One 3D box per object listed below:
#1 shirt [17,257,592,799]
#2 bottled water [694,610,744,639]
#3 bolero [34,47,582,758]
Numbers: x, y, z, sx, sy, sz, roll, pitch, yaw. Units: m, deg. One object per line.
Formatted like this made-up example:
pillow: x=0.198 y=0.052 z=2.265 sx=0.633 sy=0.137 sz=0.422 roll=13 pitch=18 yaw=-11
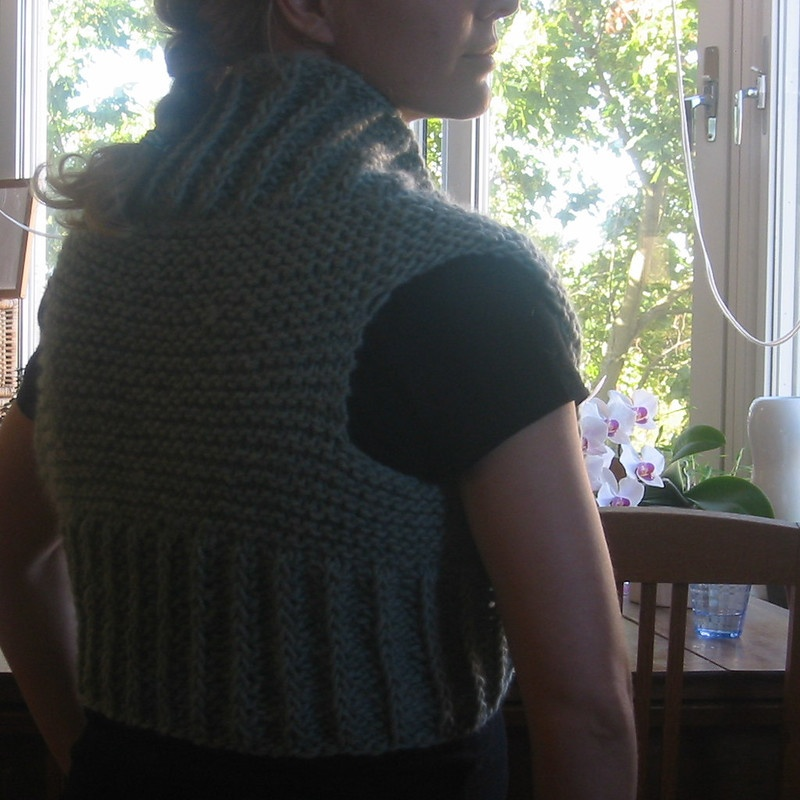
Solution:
shirt: x=-0.049 y=0.075 z=0.565 sx=0.335 sy=0.314 sz=0.187 roll=3 pitch=-3 yaw=-1
bottled water: x=0.381 y=0.274 z=1.156 sx=0.044 sy=0.030 sz=0.036 roll=-1 pitch=-14 yaw=20
bolero: x=-0.064 y=-0.007 z=0.654 sx=0.338 sy=0.411 sz=0.242 roll=4 pitch=5 yaw=23
